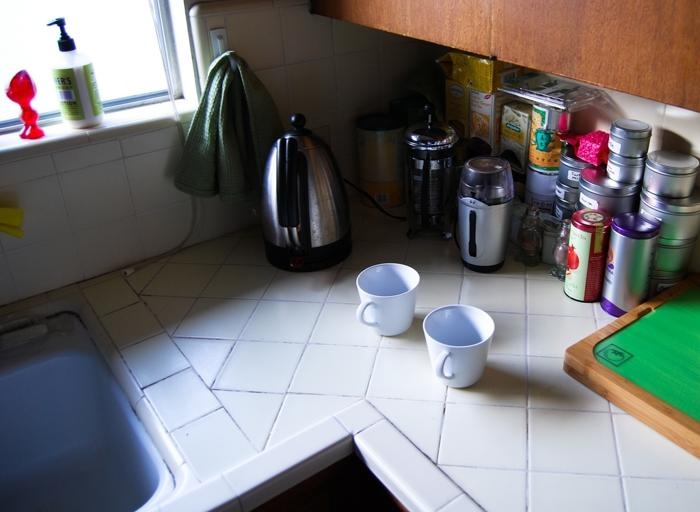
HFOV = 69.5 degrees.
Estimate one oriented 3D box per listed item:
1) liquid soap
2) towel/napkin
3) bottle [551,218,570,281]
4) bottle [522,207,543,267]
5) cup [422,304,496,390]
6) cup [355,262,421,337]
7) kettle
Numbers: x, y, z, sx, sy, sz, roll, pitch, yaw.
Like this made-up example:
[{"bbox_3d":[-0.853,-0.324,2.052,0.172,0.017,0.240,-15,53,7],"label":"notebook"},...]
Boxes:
[{"bbox_3d":[-0.648,-0.426,1.179,0.088,0.231,0.083,-4,32,-2],"label":"liquid soap"},{"bbox_3d":[-0.300,-0.355,1.295,0.275,0.321,0.190,0,19,-12],"label":"towel/napkin"},{"bbox_3d":[0.488,-0.018,1.164,0.031,0.131,0.063,9,34,19],"label":"bottle"},{"bbox_3d":[0.453,-0.056,1.249,0.054,0.108,0.121,9,35,18],"label":"bottle"},{"bbox_3d":[0.210,0.158,0.971,0.121,0.107,0.157,13,46,25],"label":"cup"},{"bbox_3d":[0.082,0.095,1.073,0.124,0.108,0.135,-2,33,1],"label":"cup"},{"bbox_3d":[-0.069,-0.193,1.274,0.257,0.381,0.356,3,41,5],"label":"kettle"}]
